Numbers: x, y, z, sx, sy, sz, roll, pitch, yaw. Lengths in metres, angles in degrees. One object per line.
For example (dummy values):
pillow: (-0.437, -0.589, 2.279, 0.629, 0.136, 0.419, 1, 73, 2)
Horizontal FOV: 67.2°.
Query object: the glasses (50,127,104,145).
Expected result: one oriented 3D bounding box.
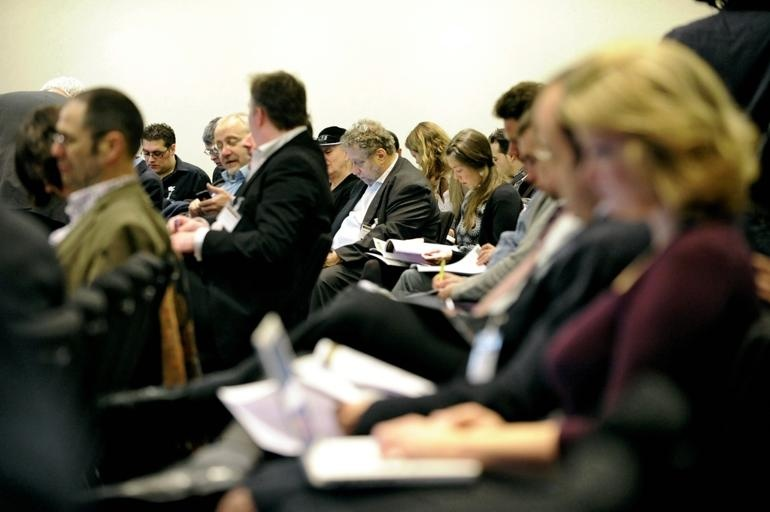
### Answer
glasses: (-0.901, -0.354, 1.706, 0.093, 0.033, 0.070, -1, 6, -15)
